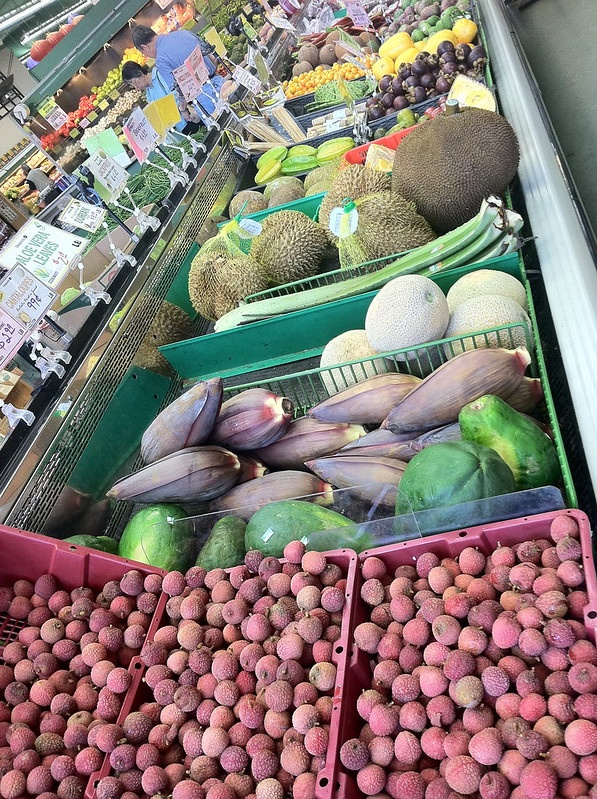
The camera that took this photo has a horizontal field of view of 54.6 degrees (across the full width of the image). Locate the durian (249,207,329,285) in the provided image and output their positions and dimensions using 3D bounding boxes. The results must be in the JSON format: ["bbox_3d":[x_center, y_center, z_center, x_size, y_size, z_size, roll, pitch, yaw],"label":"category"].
[{"bbox_3d":[-0.046,-0.670,2.685,0.336,0.205,0.352,15,75,6],"label":"durian"}]

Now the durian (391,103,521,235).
[{"bbox_3d":[0.648,-0.974,2.496,0.483,0.343,0.551,-25,35,6],"label":"durian"}]

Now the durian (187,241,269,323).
[{"bbox_3d":[-0.304,-0.553,2.734,0.331,0.400,0.338,-3,86,-1],"label":"durian"}]

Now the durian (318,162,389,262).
[{"bbox_3d":[0.237,-0.854,2.643,0.266,0.322,0.379,25,94,31],"label":"durian"}]

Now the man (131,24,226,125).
[{"bbox_3d":[-0.882,-2.385,4.427,0.320,0.912,0.402,16,64,38],"label":"man"}]
